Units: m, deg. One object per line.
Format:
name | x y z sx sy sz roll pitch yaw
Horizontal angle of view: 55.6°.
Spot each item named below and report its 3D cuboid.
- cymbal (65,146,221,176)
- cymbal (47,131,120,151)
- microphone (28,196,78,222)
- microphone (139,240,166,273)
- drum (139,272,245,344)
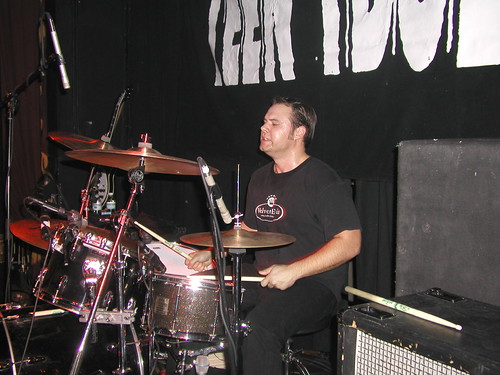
cymbal | -0.705 -0.162 3.002 0.885 0.188 0.474 -1 -8 20
cymbal | -1.388 -0.384 3.865 0.350 0.090 0.350 7 16 -37
microphone | -1.202 0.139 2.891 0.339 0.138 0.197 3 -7 -13
microphone | -0.593 0.447 2.930 0.082 0.081 0.268 28 -22 52
drum | -0.378 0.722 2.814 0.402 0.286 0.435 5 -10 1
